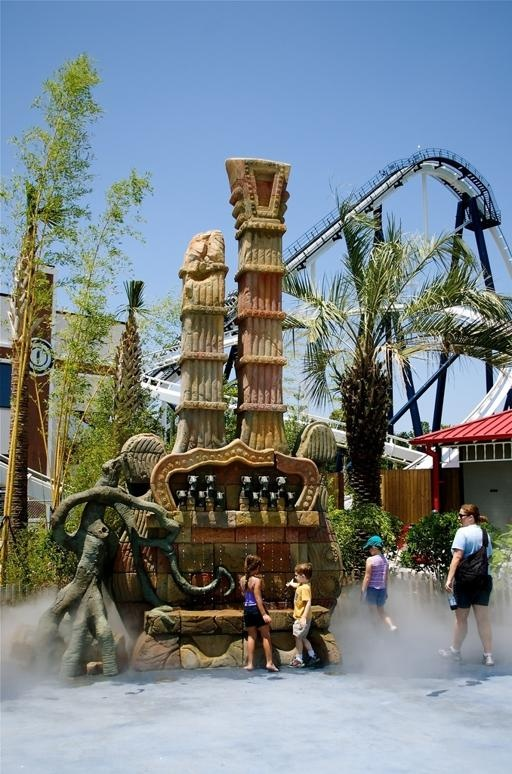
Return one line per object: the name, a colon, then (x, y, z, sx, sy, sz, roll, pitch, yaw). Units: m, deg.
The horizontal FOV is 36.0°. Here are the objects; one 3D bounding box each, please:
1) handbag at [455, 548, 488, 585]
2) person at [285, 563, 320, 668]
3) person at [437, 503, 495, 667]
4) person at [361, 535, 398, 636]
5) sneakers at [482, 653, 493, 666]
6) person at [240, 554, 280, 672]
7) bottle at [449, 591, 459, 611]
handbag: (1.990, 1.645, 7.228, 0.270, 0.311, 0.149, 1, -9, 14)
person: (0.468, 2.235, 7.710, 0.290, 1.001, 0.571, 2, -9, 3)
person: (1.982, 1.841, 7.307, 0.427, 1.470, 0.832, 0, -9, 16)
person: (1.366, 2.191, 8.763, 0.354, 1.029, 0.667, 1, -9, 10)
sneakers: (2.177, 2.548, 7.380, 0.059, 0.080, 0.169, 0, -1, 0)
person: (0.043, 2.192, 7.658, 0.390, 1.082, 0.619, 3, -9, 0)
bottle: (1.802, 1.953, 7.202, 0.068, 0.149, 0.297, 1, -10, 15)
